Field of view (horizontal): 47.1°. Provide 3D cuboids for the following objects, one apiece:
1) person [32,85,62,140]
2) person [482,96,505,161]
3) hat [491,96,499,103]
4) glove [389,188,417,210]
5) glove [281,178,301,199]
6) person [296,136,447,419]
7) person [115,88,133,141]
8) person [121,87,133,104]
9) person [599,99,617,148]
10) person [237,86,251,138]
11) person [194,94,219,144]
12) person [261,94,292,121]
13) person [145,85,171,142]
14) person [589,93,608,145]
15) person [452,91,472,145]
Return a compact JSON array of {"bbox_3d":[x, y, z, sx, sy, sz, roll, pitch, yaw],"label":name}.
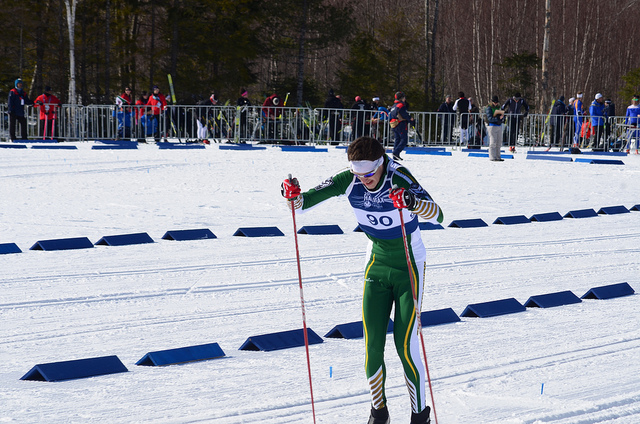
[{"bbox_3d":[-9.508,-3.455,25.550,0.862,1.866,1.182,-3,12,-21],"label":"person"},{"bbox_3d":[5.112,-2.419,21.285,0.590,1.937,1.529,3,11,14],"label":"person"},{"bbox_3d":[5.003,-3.210,20.784,0.164,0.191,0.229,0,7,1],"label":"hat"},{"bbox_3d":[0.889,-0.146,7.782,0.299,0.224,0.146,1,11,-3],"label":"glove"},{"bbox_3d":[-0.325,-0.274,8.102,0.171,0.223,0.084,-3,5,-4],"label":"glove"},{"bbox_3d":[0.652,0.695,7.955,1.263,2.975,0.673,3,11,9],"label":"person"},{"bbox_3d":[-6.863,-3.427,25.501,0.574,1.798,0.912,-2,11,-17],"label":"person"},{"bbox_3d":[-6.812,-4.116,25.621,0.302,0.537,0.987,-2,12,-15],"label":"person"},{"bbox_3d":[10.019,-3.054,25.409,0.395,1.666,1.337,5,11,20],"label":"person"},{"bbox_3d":[-2.692,-3.432,25.631,0.399,1.644,1.033,0,11,-6],"label":"person"},{"bbox_3d":[-3.993,-3.301,25.717,0.736,1.718,1.056,-4,12,-25],"label":"person"},{"bbox_3d":[-1.514,-3.586,25.254,0.957,0.870,0.697,1,11,-1],"label":"person"},{"bbox_3d":[-5.590,-3.408,25.408,0.555,1.901,0.947,7,12,29],"label":"person"},{"bbox_3d":[9.587,-3.195,25.164,0.583,1.739,1.204,5,11,19],"label":"person"},{"bbox_3d":[5.083,-3.308,25.976,0.619,1.873,1.400,3,11,13],"label":"person"}]
